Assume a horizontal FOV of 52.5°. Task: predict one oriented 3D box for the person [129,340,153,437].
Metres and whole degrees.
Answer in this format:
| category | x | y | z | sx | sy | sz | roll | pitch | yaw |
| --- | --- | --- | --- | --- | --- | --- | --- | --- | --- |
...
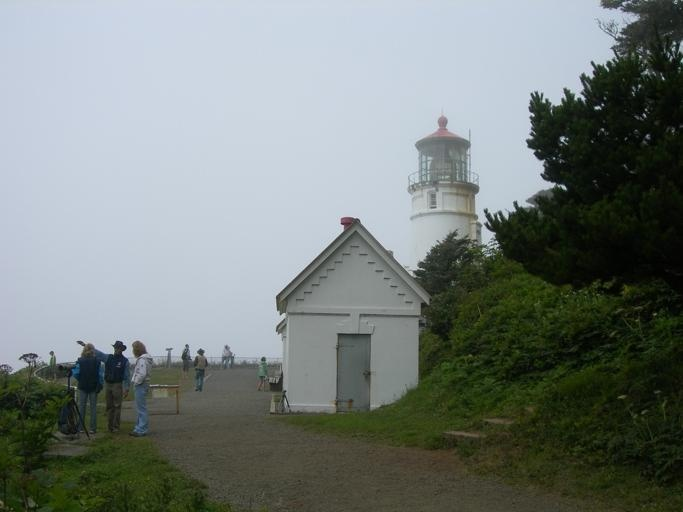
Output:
| category | x | y | z | sx | sy | sz | roll | pitch | yaw |
| --- | --- | --- | --- | --- | --- | --- | --- | --- | --- |
| person | -4.987 | 3.297 | 17.259 | 0.451 | 2.277 | 1.476 | 2 | -9 | -16 |
